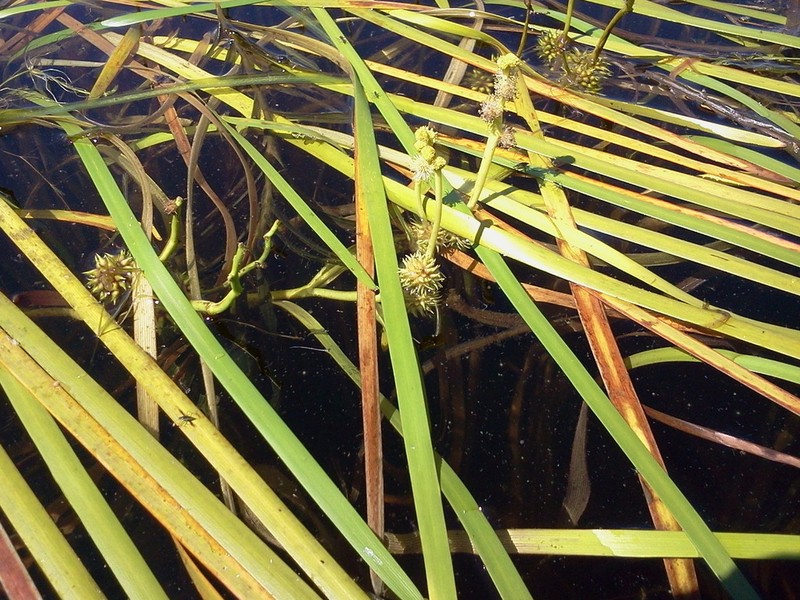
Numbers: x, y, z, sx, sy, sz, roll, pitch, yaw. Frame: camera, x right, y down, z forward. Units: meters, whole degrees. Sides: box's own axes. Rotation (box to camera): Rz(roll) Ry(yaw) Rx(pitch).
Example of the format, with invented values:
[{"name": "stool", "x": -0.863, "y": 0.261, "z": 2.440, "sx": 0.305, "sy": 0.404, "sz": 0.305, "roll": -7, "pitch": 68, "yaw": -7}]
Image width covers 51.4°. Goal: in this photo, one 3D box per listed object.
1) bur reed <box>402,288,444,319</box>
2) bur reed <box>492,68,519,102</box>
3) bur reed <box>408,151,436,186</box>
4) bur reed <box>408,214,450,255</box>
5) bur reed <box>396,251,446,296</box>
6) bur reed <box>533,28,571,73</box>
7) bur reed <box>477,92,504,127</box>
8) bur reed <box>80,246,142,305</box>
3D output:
[{"name": "bur reed", "x": 0.077, "y": 0.020, "z": 2.803, "sx": 0.097, "sy": 0.102, "sz": 0.037, "roll": -21, "pitch": 10, "yaw": -6}, {"name": "bur reed", "x": 0.322, "y": -0.665, "z": 2.594, "sx": 0.090, "sy": 0.095, "sz": 0.041, "roll": -4, "pitch": 5, "yaw": 0}, {"name": "bur reed", "x": 0.069, "y": -0.413, "z": 2.595, "sx": 0.086, "sy": 0.090, "sz": 0.036, "roll": 11, "pitch": 9, "yaw": 31}, {"name": "bur reed", "x": 0.090, "y": -0.225, "z": 2.885, "sx": 0.114, "sy": 0.065, "sz": 0.119, "roll": -20, "pitch": 75, "yaw": 8}, {"name": "bur reed", "x": 0.069, "y": -0.082, "z": 2.856, "sx": 0.151, "sy": 0.085, "sz": 0.138, "roll": 44, "pitch": 9, "yaw": 1}, {"name": "bur reed", "x": 0.637, "y": -1.053, "z": 3.476, "sx": 0.165, "sy": 0.103, "sz": 0.181, "roll": -3, "pitch": 75, "yaw": -2}, {"name": "bur reed", "x": 0.297, "y": -0.614, "z": 2.609, "sx": 0.063, "sy": 0.096, "sz": 0.093, "roll": 10, "pitch": -18, "yaw": -38}, {"name": "bur reed", "x": -0.974, "y": -0.098, "z": 2.838, "sx": 0.174, "sy": 0.181, "sz": 0.146, "roll": 11, "pitch": 10, "yaw": 7}]
